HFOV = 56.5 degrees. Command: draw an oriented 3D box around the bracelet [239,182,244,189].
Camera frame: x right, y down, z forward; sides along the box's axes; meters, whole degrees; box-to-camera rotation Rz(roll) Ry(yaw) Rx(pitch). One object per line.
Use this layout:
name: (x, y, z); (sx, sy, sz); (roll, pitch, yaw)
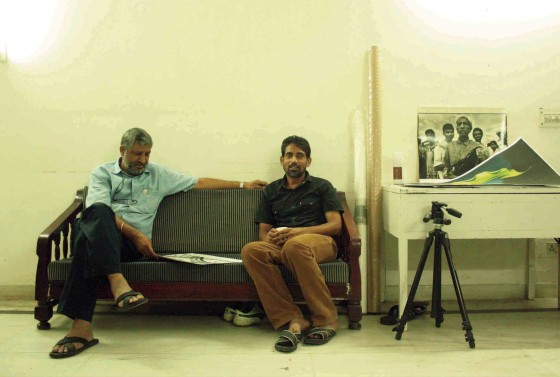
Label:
bracelet: (-0.361, -0.032, 5.024); (0.037, 0.061, 0.056); (7, 41, 1)

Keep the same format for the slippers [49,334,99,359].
slippers: (-1.667, 1.265, 4.178); (0.133, 0.087, 0.322); (-5, -5, 35)

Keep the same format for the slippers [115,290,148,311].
slippers: (-1.252, 0.930, 4.273); (0.299, 0.098, 0.161); (-12, 2, 30)

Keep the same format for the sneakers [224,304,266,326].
sneakers: (-0.308, 1.141, 4.693); (0.329, 0.121, 0.180); (5, 0, -19)

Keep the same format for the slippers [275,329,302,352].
slippers: (0.101, 1.244, 4.264); (0.275, 0.150, 0.137); (-1, 2, -30)

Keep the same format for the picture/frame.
picture/frame: (1.739, -0.422, 5.039); (0.911, 0.653, 0.085); (0, -1, 0)

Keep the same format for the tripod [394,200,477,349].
tripod: (1.372, 0.696, 4.628); (0.674, 1.191, 0.707); (0, 1, 15)

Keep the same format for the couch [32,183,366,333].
couch: (-0.694, 0.638, 4.892); (2.802, 1.102, 0.920); (0, 7, -2)

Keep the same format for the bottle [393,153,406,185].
bottle: (1.157, -0.204, 5.050); (0.106, 0.293, 0.248); (0, 1, 13)

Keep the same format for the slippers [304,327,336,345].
slippers: (0.339, 1.231, 4.313); (0.250, 0.066, 0.108); (1, -6, -20)

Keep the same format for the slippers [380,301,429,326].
slippers: (1.142, 1.140, 4.744); (0.383, 0.131, 0.207); (-7, 1, -13)

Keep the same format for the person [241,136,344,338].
person: (0.128, 0.368, 4.609); (0.842, 1.691, 0.684); (-1, 1, 7)
